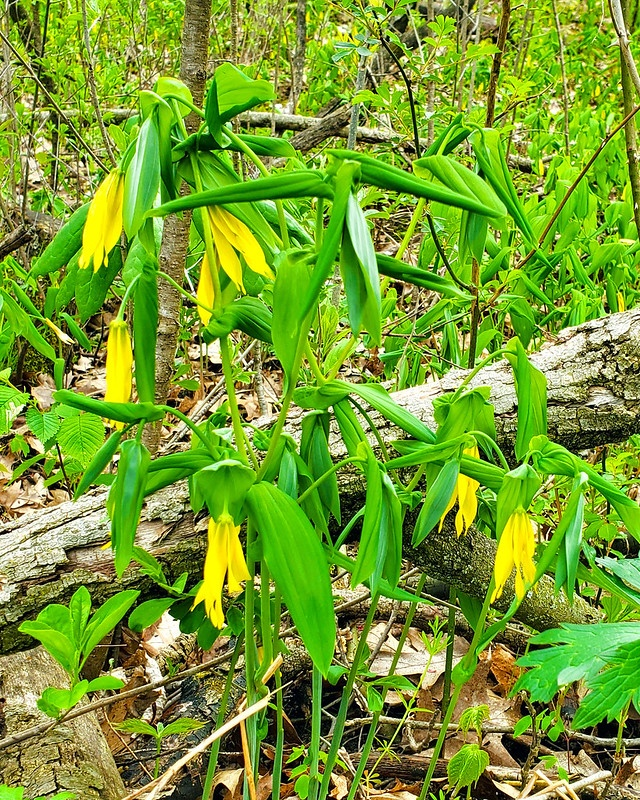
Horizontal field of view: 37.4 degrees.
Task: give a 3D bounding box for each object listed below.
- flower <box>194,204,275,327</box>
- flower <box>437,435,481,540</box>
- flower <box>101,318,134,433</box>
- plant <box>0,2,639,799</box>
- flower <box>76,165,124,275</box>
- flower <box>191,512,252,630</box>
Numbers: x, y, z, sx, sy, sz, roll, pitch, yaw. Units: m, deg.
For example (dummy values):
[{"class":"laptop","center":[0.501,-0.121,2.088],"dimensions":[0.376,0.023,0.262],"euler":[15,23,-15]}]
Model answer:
[{"class":"flower","center":[-0.156,-0.254,1.772],"dimensions":[0.138,0.229,0.241],"euler":[3,14,-4]},{"class":"flower","center":[0.277,0.167,1.869],"dimensions":[0.065,0.237,0.070],"euler":[7,11,-7]},{"class":"flower","center":[-0.358,-0.068,1.672],"dimensions":[0.044,0.152,0.077],"euler":[1,14,-14]},{"class":"plant","center":[0.141,0.155,2.413],"dimensions":[1.116,2.113,1.344],"euler":[4,5,29]},{"class":"flower","center":[-0.371,-0.323,1.645],"dimensions":[0.054,0.203,0.049],"euler":[16,-19,-27]},{"class":"flower","center":[-0.161,0.294,1.642],"dimensions":[0.076,0.201,0.098],"euler":[7,26,16]}]
